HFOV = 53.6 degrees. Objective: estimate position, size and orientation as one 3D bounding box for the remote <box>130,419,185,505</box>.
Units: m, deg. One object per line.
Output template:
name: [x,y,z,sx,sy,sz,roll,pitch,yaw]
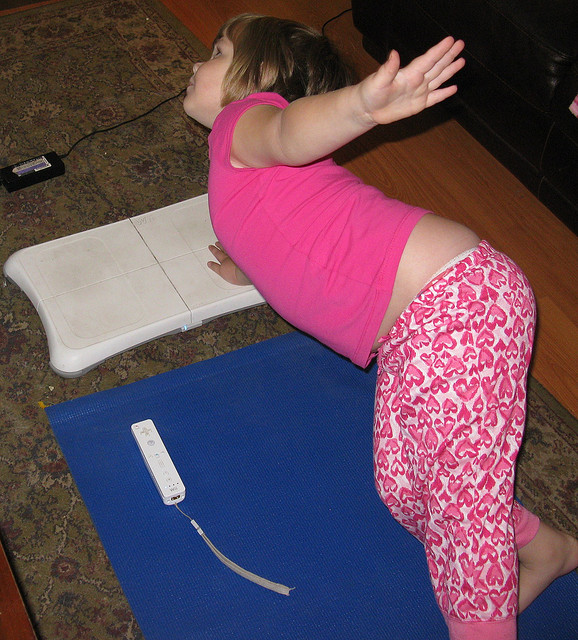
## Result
remote: [-0.242,0.249,1.077,0.057,0.046,0.188,-19,59,-21]
